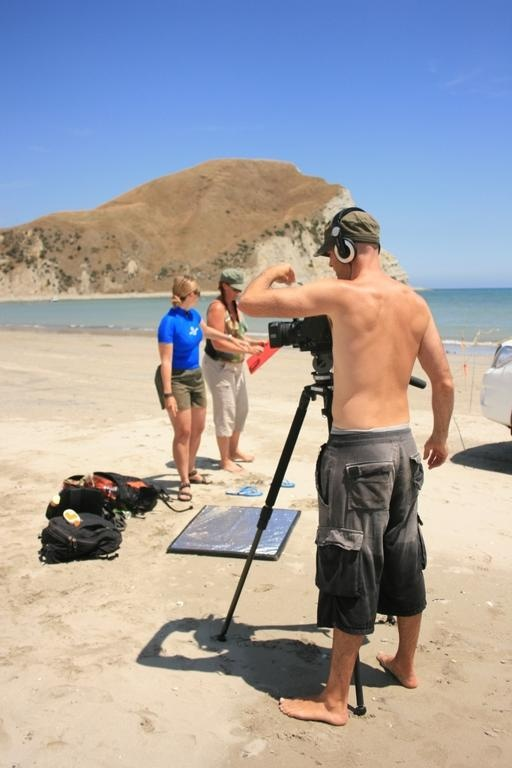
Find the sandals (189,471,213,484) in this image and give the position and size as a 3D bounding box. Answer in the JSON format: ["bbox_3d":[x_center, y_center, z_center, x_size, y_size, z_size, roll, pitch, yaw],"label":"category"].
[{"bbox_3d":[-0.489,0.827,6.268,0.232,0.085,0.083,0,8,-2],"label":"sandals"}]

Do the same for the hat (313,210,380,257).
[{"bbox_3d":[0.397,-0.637,2.969,0.333,0.187,0.223,0,13,17],"label":"hat"}]

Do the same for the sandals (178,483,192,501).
[{"bbox_3d":[-0.572,0.878,5.802,0.109,0.114,0.305,0,-7,-3],"label":"sandals"}]

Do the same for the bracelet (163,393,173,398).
[{"bbox_3d":[-0.700,0.093,5.703,0.053,0.032,0.054,-5,-1,20],"label":"bracelet"}]

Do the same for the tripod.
[{"bbox_3d":[0.204,0.533,3.546,0.940,1.211,0.819,0,15,-17],"label":"tripod"}]

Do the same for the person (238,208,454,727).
[{"bbox_3d":[0.391,0.309,2.956,0.634,2.043,0.691,8,12,37],"label":"person"}]
